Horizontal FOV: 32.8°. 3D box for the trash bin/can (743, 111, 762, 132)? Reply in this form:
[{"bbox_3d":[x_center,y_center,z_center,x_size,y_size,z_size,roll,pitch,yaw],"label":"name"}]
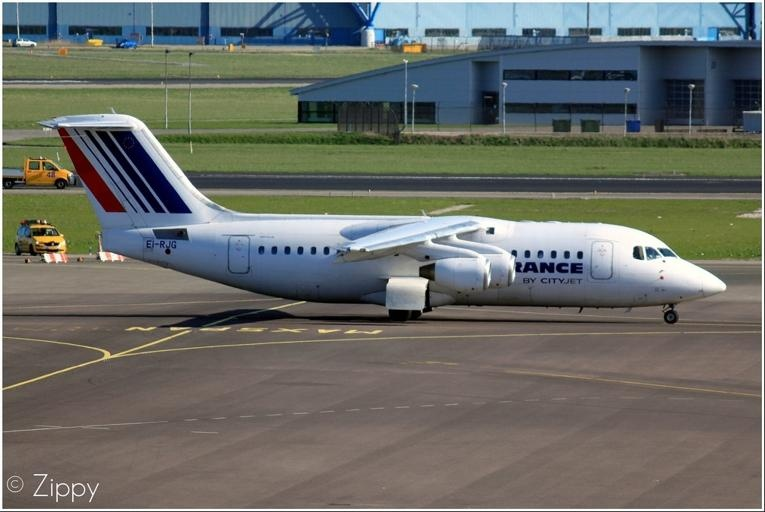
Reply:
[{"bbox_3d":[44.626,-16.410,158.934,3.432,2.171,2.940,-2,-1,22],"label":"trash bin/can"}]

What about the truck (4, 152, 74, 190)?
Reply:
[{"bbox_3d":[-32.860,-8.197,122.499,12.914,3.199,4.055,0,-2,-3],"label":"truck"}]

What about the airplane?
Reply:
[{"bbox_3d":[0.475,-1.689,85.252,43.438,8.449,29.494,3,4,-5],"label":"airplane"}]

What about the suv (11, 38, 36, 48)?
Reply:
[{"bbox_3d":[-64.753,-37.855,231.439,4.199,1.105,1.978,-1,12,-1],"label":"suv"}]

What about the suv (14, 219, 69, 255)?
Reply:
[{"bbox_3d":[-26.502,-1.450,99.648,2.917,1.939,5.003,-9,12,-30],"label":"suv"}]

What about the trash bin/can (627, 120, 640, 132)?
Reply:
[{"bbox_3d":[31.663,-16.399,164.786,2.225,1.312,1.752,2,8,8],"label":"trash bin/can"}]
